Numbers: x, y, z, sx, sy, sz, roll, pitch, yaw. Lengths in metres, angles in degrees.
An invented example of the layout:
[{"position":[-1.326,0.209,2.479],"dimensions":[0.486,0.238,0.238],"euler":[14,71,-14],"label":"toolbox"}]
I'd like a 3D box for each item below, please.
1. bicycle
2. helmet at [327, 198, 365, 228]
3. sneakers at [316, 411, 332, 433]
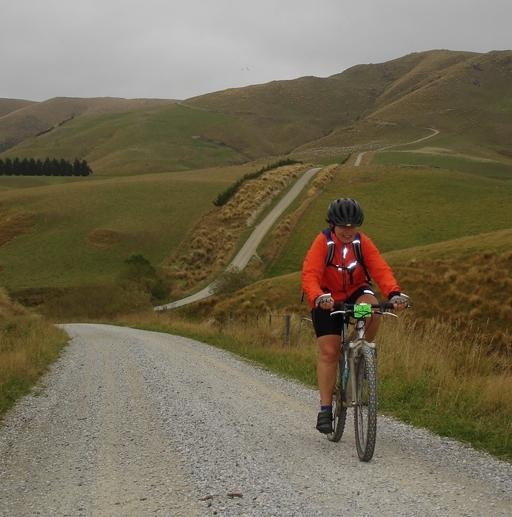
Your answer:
[{"position":[1.059,1.349,6.192],"dimensions":[0.571,1.731,1.177],"euler":[3,7,5],"label":"bicycle"},{"position":[1.014,-0.512,6.491],"dimensions":[0.409,0.329,0.385],"euler":[4,7,19],"label":"helmet"},{"position":[0.749,1.797,6.330],"dimensions":[0.164,0.172,0.261],"euler":[-2,-29,6],"label":"sneakers"}]
